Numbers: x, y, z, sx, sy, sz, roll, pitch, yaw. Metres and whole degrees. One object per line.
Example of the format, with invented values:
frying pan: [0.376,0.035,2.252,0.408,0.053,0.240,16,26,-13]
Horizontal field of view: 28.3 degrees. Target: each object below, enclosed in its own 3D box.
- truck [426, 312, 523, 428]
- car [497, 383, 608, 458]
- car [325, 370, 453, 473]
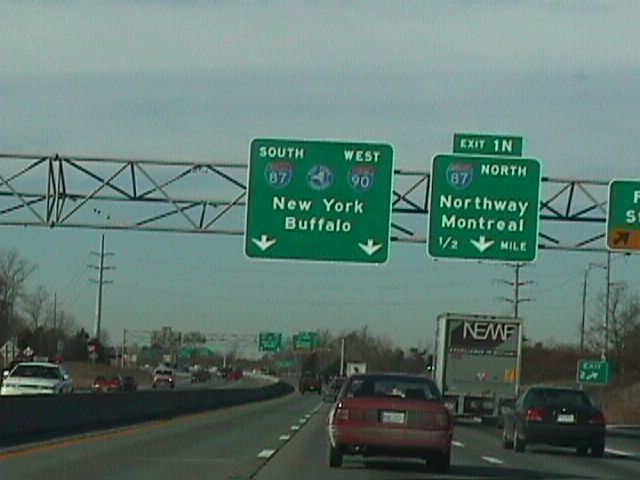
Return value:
truck: [6.911,5.412,56.982,3.856,6.167,8.517,1,-9,3]
car: [7.940,6.183,43.352,2.248,2.847,4.648,2,-8,9]
car: [2.099,5.411,37.978,3.550,2.927,1.158,2,-9,4]
